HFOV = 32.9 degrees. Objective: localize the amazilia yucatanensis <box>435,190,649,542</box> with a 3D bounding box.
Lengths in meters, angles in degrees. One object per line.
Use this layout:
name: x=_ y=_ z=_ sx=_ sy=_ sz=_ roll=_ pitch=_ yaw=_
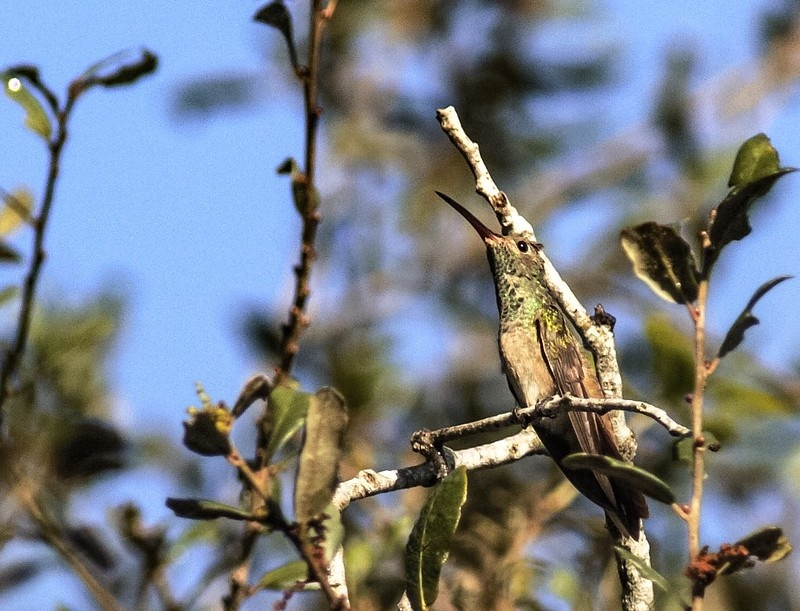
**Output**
amazilia yucatanensis: x=0.522 y=0.080 z=5.290 sx=0.432 sy=2.172 sz=0.782 roll=-13 pitch=-42 yaw=3
